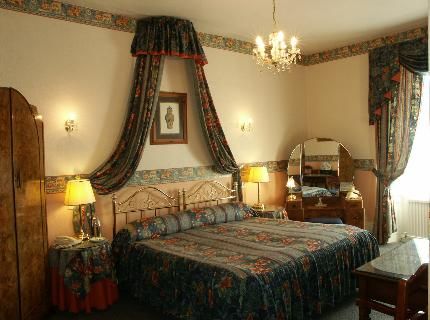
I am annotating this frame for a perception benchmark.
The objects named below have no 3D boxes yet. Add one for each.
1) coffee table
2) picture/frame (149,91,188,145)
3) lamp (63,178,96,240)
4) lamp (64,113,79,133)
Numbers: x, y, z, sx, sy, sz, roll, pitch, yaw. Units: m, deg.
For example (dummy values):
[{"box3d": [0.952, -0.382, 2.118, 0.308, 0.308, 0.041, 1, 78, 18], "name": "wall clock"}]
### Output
[{"box3d": [-1.705, 1.503, 4.440, 0.779, 0.746, 0.783, -5, 1, -29], "name": "coffee table"}, {"box3d": [-0.767, -0.691, 5.457, 0.716, 0.858, 0.151, -9, 11, -43], "name": "picture/frame"}, {"box3d": [-1.781, 0.648, 4.431, 0.362, 0.798, 0.350, -2, 8, -5], "name": "lamp"}, {"box3d": [-2.026, -0.523, 4.668, 0.064, 0.274, 0.180, 4, 10, 35], "name": "lamp"}]
